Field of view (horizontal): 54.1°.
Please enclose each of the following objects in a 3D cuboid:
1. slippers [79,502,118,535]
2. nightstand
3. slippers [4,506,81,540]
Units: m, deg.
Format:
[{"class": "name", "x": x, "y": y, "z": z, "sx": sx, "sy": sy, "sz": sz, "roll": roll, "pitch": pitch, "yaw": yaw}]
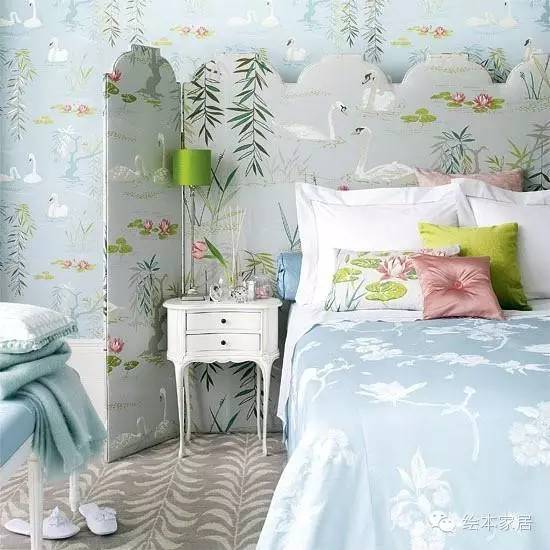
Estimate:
[{"class": "slippers", "x": -0.648, "y": 0.894, "z": 2.010, "sx": 0.114, "sy": 0.056, "sz": 0.215, "roll": -3, "pitch": 6, "yaw": -33}, {"class": "nightstand", "x": -0.255, "y": 0.491, "z": 2.683, "sx": 0.564, "sy": 0.747, "sz": 0.475, "roll": -1, "pitch": 6, "yaw": -11}, {"class": "slippers", "x": -0.823, "y": 0.891, "z": 1.958, "sx": 0.275, "sy": 0.088, "sz": 0.113, "roll": 1, "pitch": 6, "yaw": 9}]
